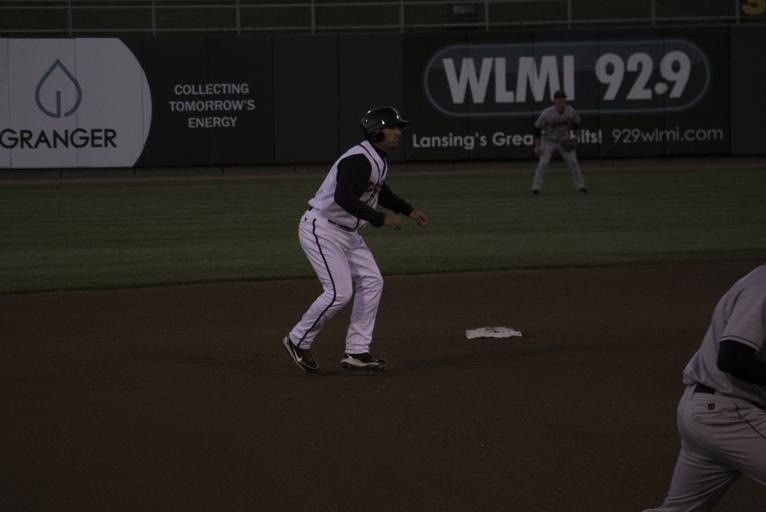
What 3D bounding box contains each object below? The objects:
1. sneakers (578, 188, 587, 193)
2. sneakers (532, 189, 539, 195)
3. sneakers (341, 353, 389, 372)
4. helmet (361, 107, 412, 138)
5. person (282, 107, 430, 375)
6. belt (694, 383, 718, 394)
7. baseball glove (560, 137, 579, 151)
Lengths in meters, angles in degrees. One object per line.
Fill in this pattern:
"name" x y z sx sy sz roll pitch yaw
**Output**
"sneakers" 4.156 -1.365 19.707 0.140 0.071 0.184 0 3 -26
"sneakers" 3.240 -1.345 20.034 0.094 0.103 0.117 0 1 -4
"sneakers" -0.181 1.188 10.831 0.528 0.241 0.202 0 6 -3
"helmet" 0.047 -1.468 10.691 0.473 0.273 0.373 -8 8 11
"person" -0.347 -0.168 10.828 1.431 2.954 0.945 -2 14 2
"belt" 2.731 1.131 8.067 0.103 0.072 0.100 2 6 -16
"baseball glove" 3.717 -2.202 18.843 0.248 0.160 0.341 -2 5 -1
